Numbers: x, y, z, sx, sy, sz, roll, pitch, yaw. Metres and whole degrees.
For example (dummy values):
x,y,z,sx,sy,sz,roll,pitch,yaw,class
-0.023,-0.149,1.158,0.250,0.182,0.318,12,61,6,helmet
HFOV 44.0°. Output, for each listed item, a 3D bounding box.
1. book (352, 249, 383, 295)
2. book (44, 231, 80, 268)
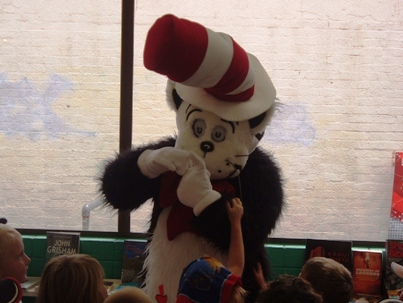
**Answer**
x,y,z,sx,sy,sz,roll,pitch,yaw,class
0.939,0.689,2.811,0.151,0.238,0.019,1,-5,4,book
-0.831,0.573,2.978,0.205,0.174,0.097,2,-5,-10,book
